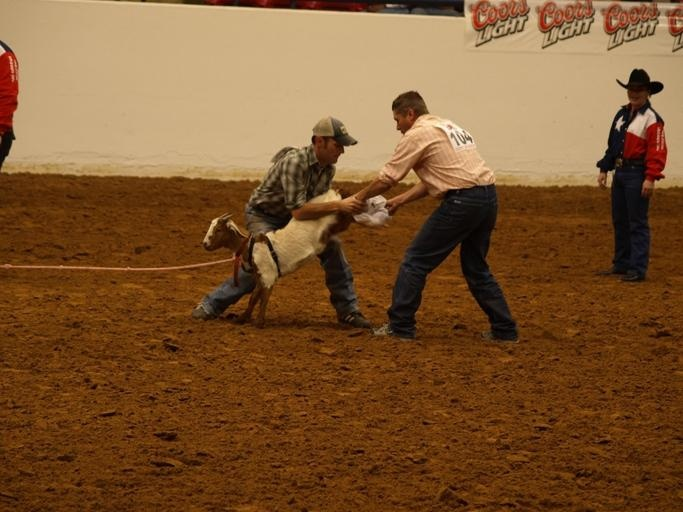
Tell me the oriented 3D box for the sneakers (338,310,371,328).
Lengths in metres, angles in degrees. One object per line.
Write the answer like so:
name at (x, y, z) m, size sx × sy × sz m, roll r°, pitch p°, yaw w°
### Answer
sneakers at (0.129, 0.577, 5.451) m, size 0.353 × 0.130 × 0.125 m, roll -1°, pitch 5°, yaw 23°

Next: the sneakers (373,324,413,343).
sneakers at (0.446, 0.645, 5.159) m, size 0.381 × 0.129 × 0.123 m, roll 10°, pitch 5°, yaw 8°

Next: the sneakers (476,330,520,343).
sneakers at (1.354, 0.681, 5.174) m, size 0.314 × 0.115 × 0.111 m, roll 12°, pitch 9°, yaw 20°

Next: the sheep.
sheep at (-0.573, 0.044, 5.598) m, size 0.452 × 1.012 × 1.801 m, roll -2°, pitch 7°, yaw 38°

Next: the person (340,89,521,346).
person at (0.822, -0.272, 4.894) m, size 1.194 × 2.124 × 0.436 m, roll -4°, pitch 11°, yaw 1°

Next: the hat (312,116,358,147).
hat at (-0.052, -1.024, 5.005) m, size 0.436 × 0.195 × 0.254 m, roll 6°, pitch 26°, yaw 7°

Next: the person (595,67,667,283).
person at (3.477, -0.951, 7.154) m, size 0.590 × 2.472 × 0.808 m, roll -3°, pitch 11°, yaw 7°
